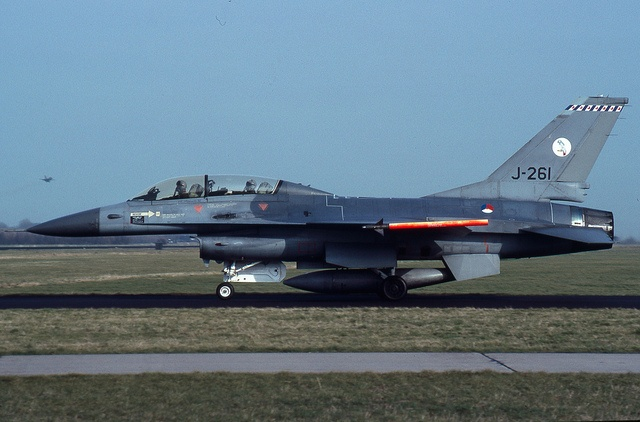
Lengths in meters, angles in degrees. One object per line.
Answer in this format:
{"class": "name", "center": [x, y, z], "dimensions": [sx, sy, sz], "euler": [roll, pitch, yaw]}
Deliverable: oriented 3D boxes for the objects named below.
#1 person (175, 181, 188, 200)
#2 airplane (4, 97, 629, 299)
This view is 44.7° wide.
{"class": "person", "center": [-5.448, -0.842, 30.507], "dimensions": [0.506, 0.742, 0.182], "euler": [2, -2, -3]}
{"class": "airplane", "center": [1.923, 0.481, 32.304], "dimensions": [18.280, 4.304, 11.041], "euler": [0, -1, -2]}
